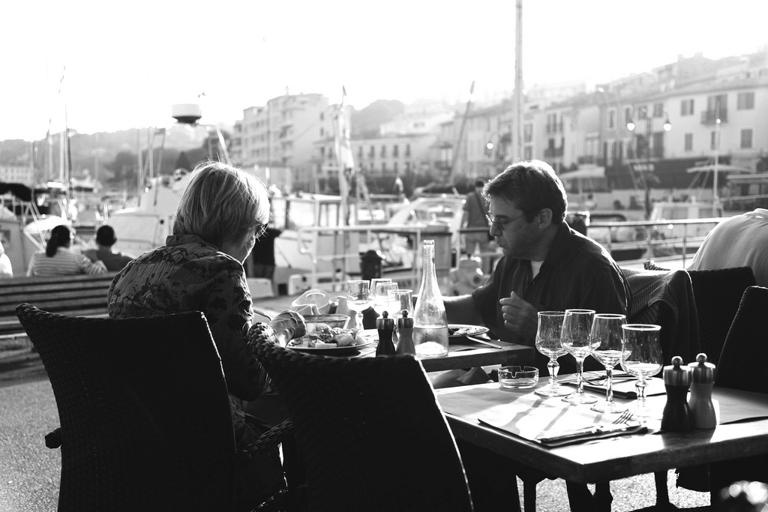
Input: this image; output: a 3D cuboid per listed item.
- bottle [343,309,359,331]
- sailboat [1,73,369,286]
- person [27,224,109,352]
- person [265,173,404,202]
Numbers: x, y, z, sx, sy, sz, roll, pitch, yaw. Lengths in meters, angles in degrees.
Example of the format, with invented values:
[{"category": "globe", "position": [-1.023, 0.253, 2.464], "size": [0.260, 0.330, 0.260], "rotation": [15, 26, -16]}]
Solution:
[{"category": "bottle", "position": [-0.243, 0.470, 6.383], "size": [0.106, 0.128, 0.116], "rotation": [1, -2, -4]}, {"category": "sailboat", "position": [-2.302, -1.361, 16.170], "size": [7.761, 3.489, 2.345], "rotation": [0, 12, 6]}, {"category": "person", "position": [-3.824, 0.179, 10.694], "size": [1.044, 0.765, 0.616], "rotation": [1, 16, -7]}, {"category": "person", "position": [-0.814, -1.182, 15.317], "size": [1.241, 0.306, 1.171], "rotation": [1, -2, 3]}]
